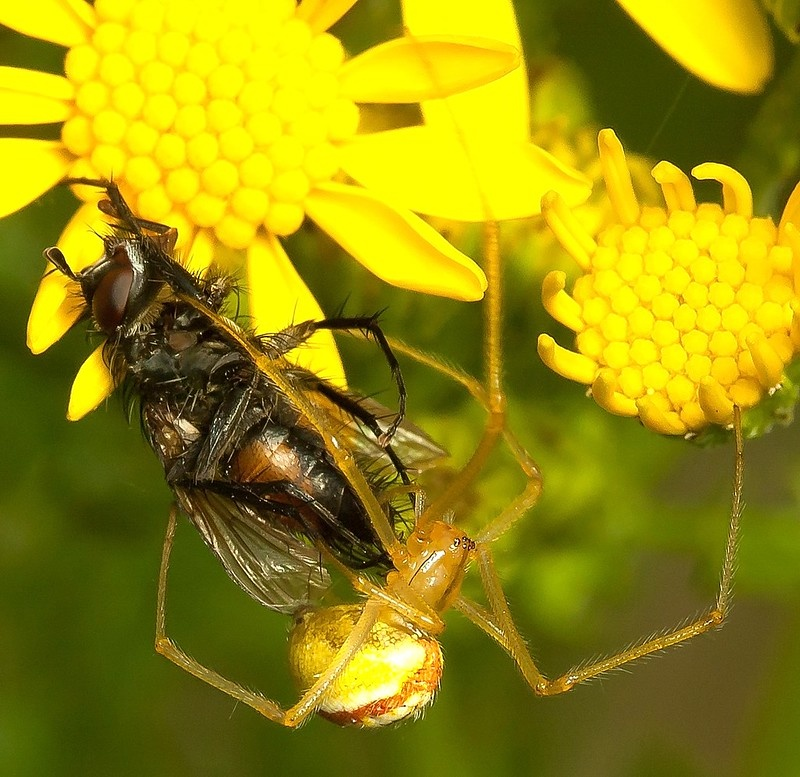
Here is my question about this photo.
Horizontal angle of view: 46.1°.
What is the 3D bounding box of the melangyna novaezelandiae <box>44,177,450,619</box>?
[{"bbox_3d":[-0.117,-0.007,0.778,0.314,0.180,0.460,-2,56,14],"label":"melangyna novaezelandiae"}]
